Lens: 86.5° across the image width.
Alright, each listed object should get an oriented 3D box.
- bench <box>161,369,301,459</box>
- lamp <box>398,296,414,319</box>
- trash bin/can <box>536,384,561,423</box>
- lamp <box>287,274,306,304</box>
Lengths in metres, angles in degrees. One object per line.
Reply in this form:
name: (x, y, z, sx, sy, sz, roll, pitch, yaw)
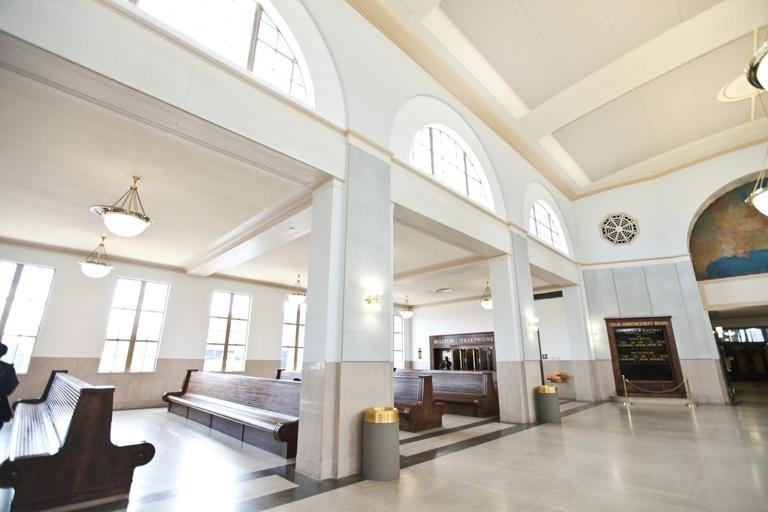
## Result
bench: (-3.438, 3.365, 9.264, 5.181, 1.653, 0.755, -2, -4, 43)
lamp: (1.046, 2.467, 19.611, 0.700, 1.185, 2.011, 0, -3, 3)
trash bin/can: (4.275, 3.876, 10.749, 0.576, 0.893, 0.457, -1, -3, 16)
lamp: (-3.189, 1.183, 15.008, 0.606, 1.062, 2.438, 1, -3, -12)
